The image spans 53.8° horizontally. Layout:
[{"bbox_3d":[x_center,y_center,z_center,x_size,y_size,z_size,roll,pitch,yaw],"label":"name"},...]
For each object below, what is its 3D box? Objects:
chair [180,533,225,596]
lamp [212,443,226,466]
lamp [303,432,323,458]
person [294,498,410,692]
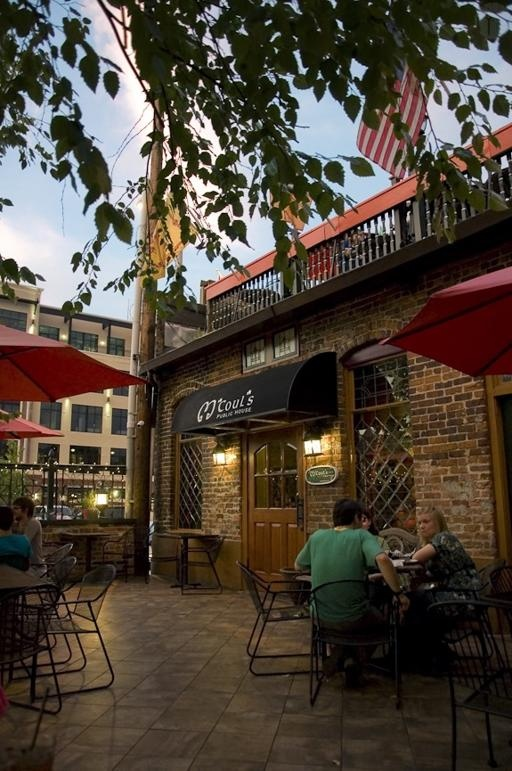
[{"bbox_3d":[-1.158,3.640,10.554,0.860,1.094,2.036,1,-12,-11],"label":"chair"},{"bbox_3d":[-0.788,1.448,10.646,0.196,0.455,0.360,5,-13,-29],"label":"lamp"},{"bbox_3d":[0.924,0.981,8.196,0.316,0.446,0.332,-6,-7,38],"label":"lamp"},{"bbox_3d":[0.741,1.612,3.977,0.740,1.394,1.037,0,-11,-4],"label":"person"}]
